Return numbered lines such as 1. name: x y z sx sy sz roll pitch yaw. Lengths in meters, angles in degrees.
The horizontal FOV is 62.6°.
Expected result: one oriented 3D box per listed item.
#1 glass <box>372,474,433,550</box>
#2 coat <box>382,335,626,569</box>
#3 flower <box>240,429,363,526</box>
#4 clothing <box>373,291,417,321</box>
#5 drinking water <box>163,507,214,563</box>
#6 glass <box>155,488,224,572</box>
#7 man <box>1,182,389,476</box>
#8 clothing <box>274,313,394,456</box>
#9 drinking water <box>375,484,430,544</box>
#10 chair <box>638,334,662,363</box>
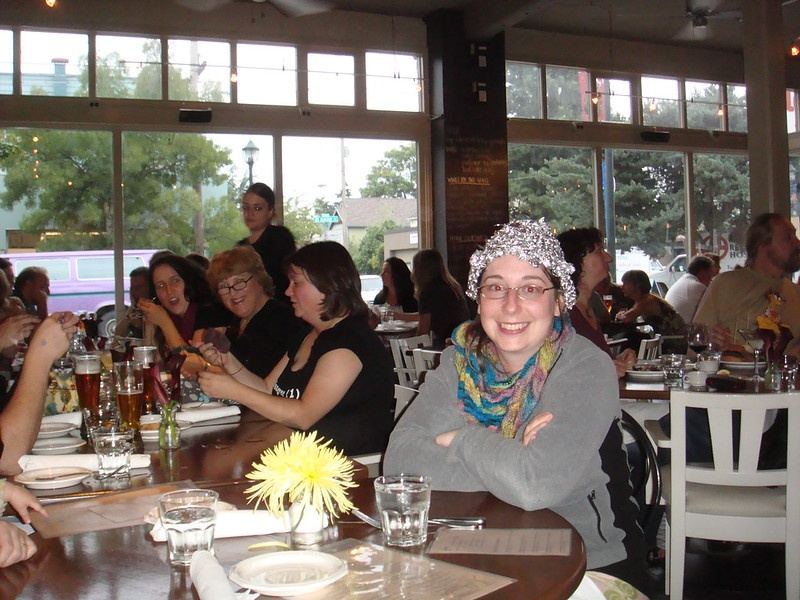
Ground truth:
1. glass: -0.016 0.473 1.474 0.133 0.150 0.134 -1 -9 -7
2. coat: 0.322 0.424 2.112 0.663 0.729 0.624 6 -11 -36
3. flower: -0.221 0.387 1.540 0.260 0.229 0.265 2 8 -2
4. clothing: -0.100 0.129 7.352 0.566 0.312 0.549 -2 15 -1
5. drinking water: -0.442 0.487 1.404 0.111 0.110 0.121 -1 -7 6
6. glass: -0.451 0.484 1.397 0.135 0.152 0.137 0 -5 5
7. man: -0.855 0.413 3.360 1.078 2.006 0.850 11 -25 -17
8. clothing: -0.381 0.365 2.888 0.511 0.699 0.554 6 -10 -16
9. drinking water: 0.004 0.479 1.474 0.120 0.136 0.123 0 -8 -17
10. chair: 1.803 0.361 4.769 0.163 0.262 0.166 2 4 17
